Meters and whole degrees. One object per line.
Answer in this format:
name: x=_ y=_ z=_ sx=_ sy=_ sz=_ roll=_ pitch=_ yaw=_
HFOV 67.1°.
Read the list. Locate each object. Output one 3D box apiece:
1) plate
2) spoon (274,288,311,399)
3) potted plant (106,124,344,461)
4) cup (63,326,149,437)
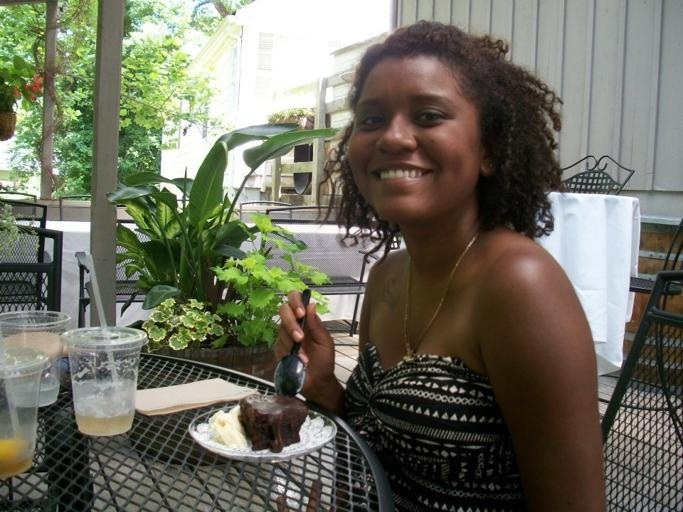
plate: x=-0.161 y=0.306 z=1.058 sx=0.249 sy=0.090 sz=0.262 roll=2 pitch=1 yaw=-35
spoon: x=-0.119 y=0.201 z=1.157 sx=0.082 sy=0.246 sz=0.099 roll=-1 pitch=11 yaw=-15
potted plant: x=-0.605 y=0.004 z=2.268 sx=0.645 sy=1.562 sz=0.610 roll=-3 pitch=8 yaw=-31
cup: x=-0.459 y=0.235 z=1.057 sx=0.137 sy=0.236 sz=0.142 roll=1 pitch=1 yaw=0
